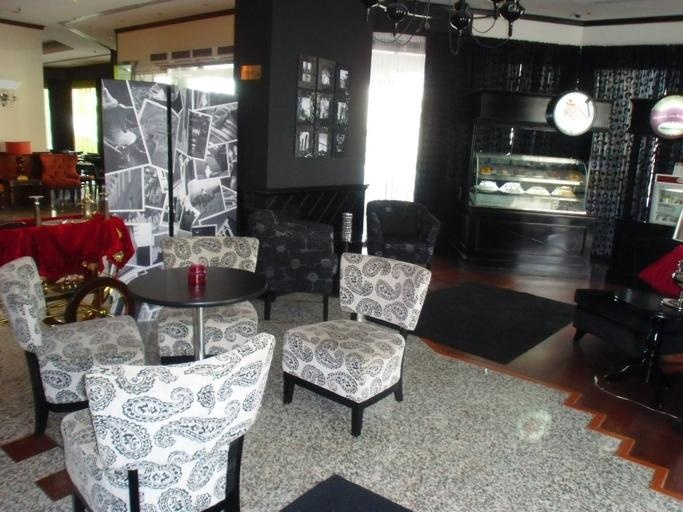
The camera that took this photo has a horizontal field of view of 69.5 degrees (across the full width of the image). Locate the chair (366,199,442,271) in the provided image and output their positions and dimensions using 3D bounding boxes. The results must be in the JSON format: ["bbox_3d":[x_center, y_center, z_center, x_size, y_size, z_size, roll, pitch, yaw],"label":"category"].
[{"bbox_3d":[0.736,-0.203,6.600,0.966,0.995,0.806,5,7,-9],"label":"chair"}]

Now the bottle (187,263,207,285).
[{"bbox_3d":[-0.965,0.129,3.320,0.129,0.128,0.131,2,11,-3],"label":"bottle"}]

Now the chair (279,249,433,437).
[{"bbox_3d":[0.075,0.572,3.554,0.711,1.015,0.908,15,21,43],"label":"chair"}]

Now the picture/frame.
[{"bbox_3d":[-0.255,-1.848,6.055,0.074,1.320,1.354,12,17,29],"label":"picture/frame"}]

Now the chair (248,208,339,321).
[{"bbox_3d":[-0.439,0.023,5.405,1.035,1.256,0.998,1,19,-3],"label":"chair"}]

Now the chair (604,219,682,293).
[{"bbox_3d":[3.439,0.009,5.602,0.462,0.830,0.848,0,7,-12],"label":"chair"}]
